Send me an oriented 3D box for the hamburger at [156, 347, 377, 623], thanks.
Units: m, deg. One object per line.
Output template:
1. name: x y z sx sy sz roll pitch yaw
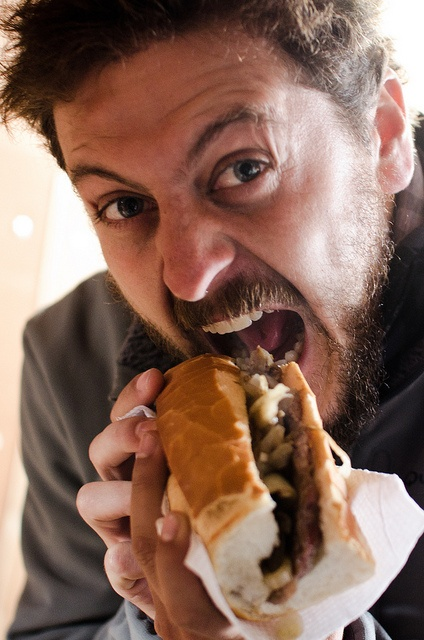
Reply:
1. hamburger: 0.080 0.289 1.326 0.369 0.222 0.596 -26 57 -13
